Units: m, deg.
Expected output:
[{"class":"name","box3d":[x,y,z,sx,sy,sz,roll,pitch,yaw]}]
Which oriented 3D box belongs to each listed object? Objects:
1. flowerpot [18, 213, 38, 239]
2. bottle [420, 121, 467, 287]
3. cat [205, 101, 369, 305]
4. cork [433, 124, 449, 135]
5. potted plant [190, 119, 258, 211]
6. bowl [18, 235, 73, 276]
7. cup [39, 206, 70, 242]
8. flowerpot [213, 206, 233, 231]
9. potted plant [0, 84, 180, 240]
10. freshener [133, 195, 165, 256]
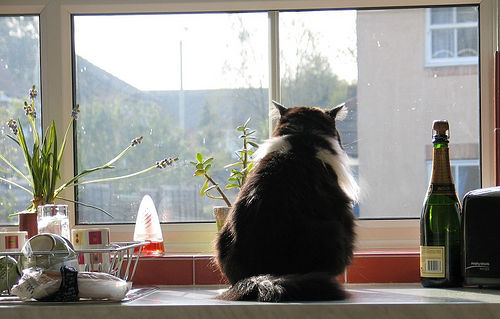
[{"class":"flowerpot","box3d":[-0.797,0.238,2.588,0.100,0.097,0.090,0,-2,1]},{"class":"bottle","box3d":[0.632,0.150,2.420,0.134,0.544,0.078,-2,-4,10]},{"class":"cat","box3d":[0.122,0.116,2.449,0.502,0.675,0.534,-1,-4,3]},{"class":"cork","box3d":[0.630,-0.099,2.402,0.034,0.058,0.035,1,6,3]},{"class":"potted plant","box3d":[-0.100,0.025,2.956,0.282,0.340,0.168,1,26,-16]},{"class":"bowl","box3d":[-0.649,0.300,2.342,0.193,0.129,0.176,5,-5,0]},{"class":"cup","box3d":[-0.707,0.225,2.632,0.103,0.155,0.095,2,20,-1]},{"class":"flowerpot","box3d":[-0.106,0.227,2.808,0.063,0.090,0.120,-1,-4,-4]},{"class":"potted plant","box3d":[-0.700,-0.003,2.877,0.577,0.612,0.578,2,-5,-36]},{"class":"freshener","box3d":[-0.399,0.276,2.884,0.119,0.229,0.116,3,7,24]}]
